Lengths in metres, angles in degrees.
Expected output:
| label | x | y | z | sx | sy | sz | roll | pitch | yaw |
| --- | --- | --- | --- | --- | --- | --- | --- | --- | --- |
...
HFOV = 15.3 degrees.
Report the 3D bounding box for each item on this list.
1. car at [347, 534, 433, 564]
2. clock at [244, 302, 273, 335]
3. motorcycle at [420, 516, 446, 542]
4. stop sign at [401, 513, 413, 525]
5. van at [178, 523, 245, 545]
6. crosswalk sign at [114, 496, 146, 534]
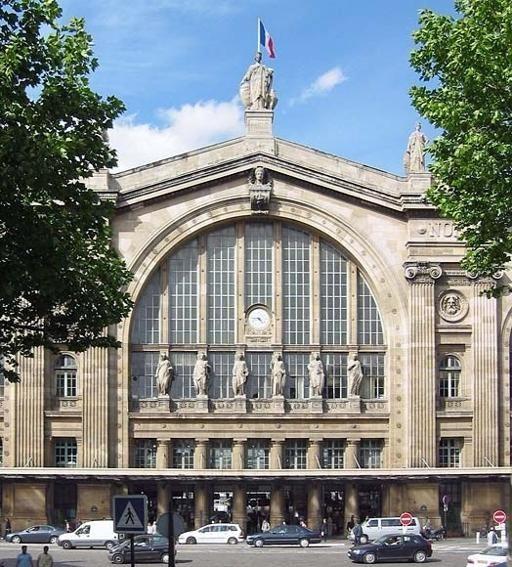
| label | x | y | z | sx | sy | sz | roll | pitch | yaw |
| --- | --- | --- | --- | --- | --- | --- | --- | --- | --- |
| car | 6.468 | 12.504 | 90.095 | 3.696 | 1.476 | 1.110 | 0 | -13 | -4 |
| clock | 0.162 | 1.899 | 106.129 | 1.615 | 2.058 | 0.212 | 1 | -18 | -5 |
| motorcycle | 9.544 | 13.331 | 102.006 | 1.478 | 1.136 | 0.793 | 11 | -31 | -11 |
| stop sign | 7.630 | 11.840 | 96.213 | 0.563 | 0.622 | 0.586 | 1 | -9 | -10 |
| van | -2.181 | 13.210 | 100.304 | 3.689 | 1.381 | 2.140 | 2 | -10 | -1 |
| crosswalk sign | -4.513 | 8.257 | 68.478 | 1.218 | 1.198 | 0.065 | 2 | -8 | -13 |
